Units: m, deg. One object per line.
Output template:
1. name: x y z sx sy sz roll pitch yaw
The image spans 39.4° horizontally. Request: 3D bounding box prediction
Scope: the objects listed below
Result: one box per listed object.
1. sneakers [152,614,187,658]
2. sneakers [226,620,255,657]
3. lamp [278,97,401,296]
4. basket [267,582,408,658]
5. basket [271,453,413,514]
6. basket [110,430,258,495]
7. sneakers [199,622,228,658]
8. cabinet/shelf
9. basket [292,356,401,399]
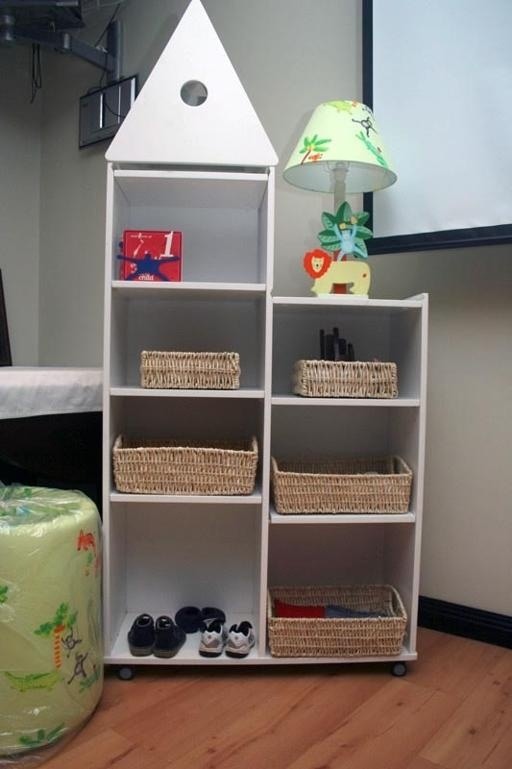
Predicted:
1. sneakers: -0.230 0.664 1.913 0.083 0.097 0.145 1 12 -5
2. sneakers: -0.042 0.675 1.920 0.078 0.072 0.128 3 12 3
3. lamp: 0.240 -0.522 2.040 0.321 0.563 0.327 1 -1 20
4. basket: 0.232 0.638 1.921 0.262 0.099 0.179 0 0 -3
5. basket: 0.226 0.252 1.949 0.271 0.106 0.178 0 -3 -3
6. basket: -0.187 0.193 1.897 0.289 0.109 0.175 1 -3 -3
7. sneakers: -0.117 0.675 1.949 0.069 0.078 0.191 2 13 -2
8. cabinet/shelf: 0.010 0.100 2.029 0.831 1.357 0.381 2 2 4
9. basket: 0.239 -0.014 1.876 0.255 0.096 0.071 4 12 6
